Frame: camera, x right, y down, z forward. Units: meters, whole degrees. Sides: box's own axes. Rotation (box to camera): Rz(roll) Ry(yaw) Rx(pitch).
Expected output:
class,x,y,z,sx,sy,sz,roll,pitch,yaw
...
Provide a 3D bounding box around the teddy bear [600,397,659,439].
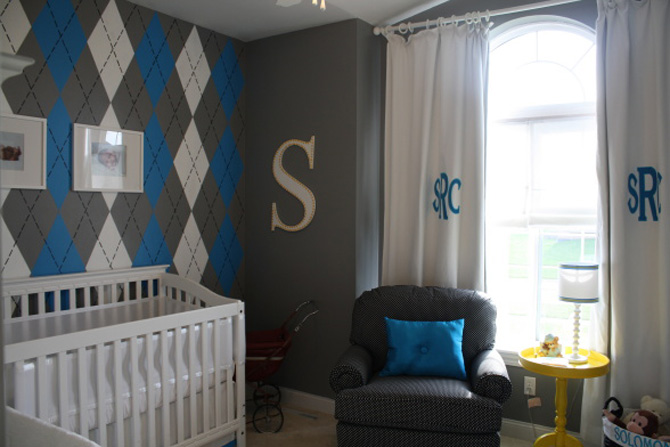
class,x,y,z,sx,sy,sz,roll,pitch,yaw
teddy bear,2.030,1.322,3.747,0.237,0.123,0.184,13,-5,19

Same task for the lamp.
class,x,y,z,sx,sy,sz,roll,pitch,yaw
lamp,1.785,0.629,3.972,0.338,0.701,0.213,-1,1,-36

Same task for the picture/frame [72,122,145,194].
class,x,y,z,sx,sy,sz,roll,pitch,yaw
picture/frame,-1.775,-0.506,4.223,0.034,0.487,0.549,-2,-1,45
